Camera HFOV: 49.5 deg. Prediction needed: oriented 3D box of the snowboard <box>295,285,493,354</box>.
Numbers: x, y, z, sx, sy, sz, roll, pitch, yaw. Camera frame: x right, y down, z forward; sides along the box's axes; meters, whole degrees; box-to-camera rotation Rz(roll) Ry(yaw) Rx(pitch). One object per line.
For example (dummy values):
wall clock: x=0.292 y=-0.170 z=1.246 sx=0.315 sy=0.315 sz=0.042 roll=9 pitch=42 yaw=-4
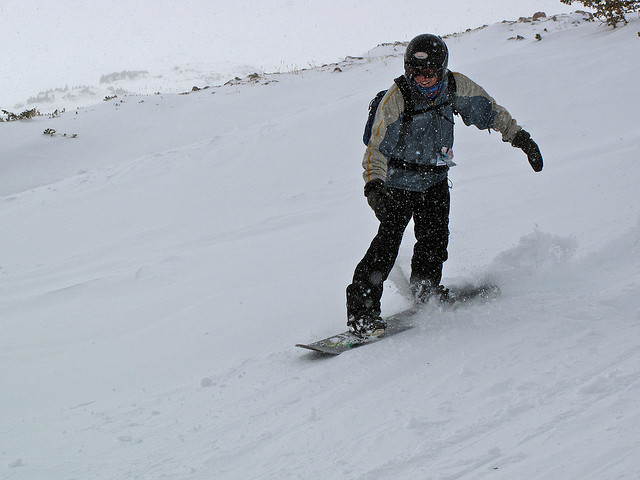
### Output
snowboard: x=0.707 y=0.723 z=6.231 sx=1.917 sy=0.133 sz=0.275 roll=-12 pitch=20 yaw=-33

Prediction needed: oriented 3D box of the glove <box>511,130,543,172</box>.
glove: x=1.928 y=-0.807 z=6.497 sx=0.246 sy=0.447 sz=0.366 roll=-2 pitch=26 yaw=15
